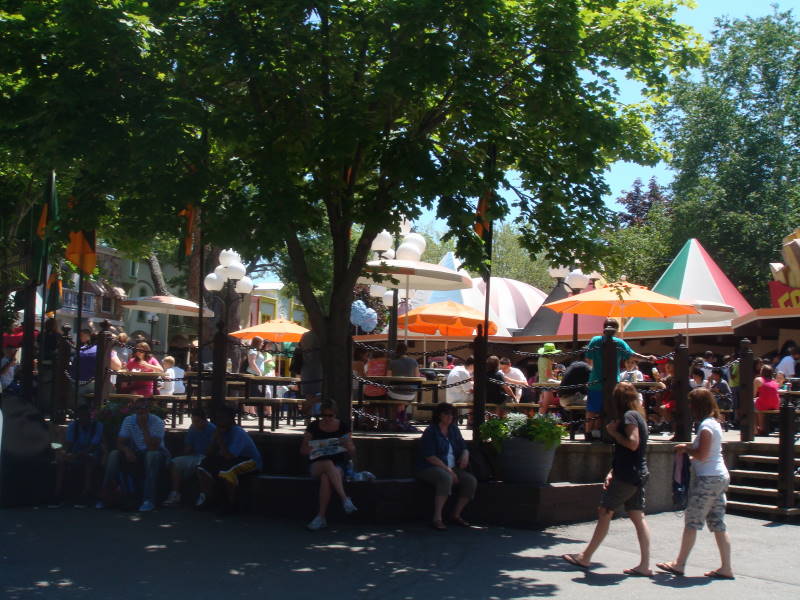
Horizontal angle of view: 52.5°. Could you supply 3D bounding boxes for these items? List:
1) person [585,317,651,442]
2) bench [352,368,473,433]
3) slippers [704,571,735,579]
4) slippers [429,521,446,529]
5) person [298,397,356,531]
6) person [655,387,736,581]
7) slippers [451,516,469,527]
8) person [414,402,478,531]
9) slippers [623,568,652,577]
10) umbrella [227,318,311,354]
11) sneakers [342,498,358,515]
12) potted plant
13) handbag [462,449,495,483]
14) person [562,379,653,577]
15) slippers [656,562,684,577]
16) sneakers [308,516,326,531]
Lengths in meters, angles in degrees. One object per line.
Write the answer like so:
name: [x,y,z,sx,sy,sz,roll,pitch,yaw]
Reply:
person: [3.491,1.258,12.998,0.765,1.842,1.217,1,2,-36]
bench: [-0.195,1.874,14.573,1.286,0.703,1.796,0,-1,-31]
slippers: [3.705,3.155,9.342,0.277,0.062,0.115,3,-7,10]
slippers: [0.530,3.111,11.251,0.218,0.107,0.196,1,-7,12]
person: [-0.997,2.327,11.462,0.802,1.684,0.587,3,-6,-3]
person: [3.671,2.160,9.835,0.713,2.149,1.051,0,-7,21]
slippers: [0.867,3.150,11.591,0.296,0.190,0.101,1,0,9]
person: [0.682,2.346,11.661,0.694,1.690,0.602,6,-7,-31]
slippers: [2.751,3.115,9.333,0.230,0.072,0.118,9,-9,13]
umbrella: [-3.551,0.926,21.959,1.658,0.604,1.741,-6,-4,37]
sneakers: [-0.701,2.883,11.357,0.215,0.256,0.408,3,-6,-3]
potted plant: [1.846,2.245,12.268,1.043,0.832,1.121,3,-12,-16]
handbag: [1.212,2.497,12.193,0.468,0.429,0.136,7,-25,-28]
person: [2.605,2.089,9.691,0.813,2.180,0.527,1,-6,13]
slippers: [3.149,3.109,9.405,0.275,0.069,0.110,9,6,35]
sneakers: [-1.148,3.061,11.136,0.116,0.105,0.273,-1,-8,22]
